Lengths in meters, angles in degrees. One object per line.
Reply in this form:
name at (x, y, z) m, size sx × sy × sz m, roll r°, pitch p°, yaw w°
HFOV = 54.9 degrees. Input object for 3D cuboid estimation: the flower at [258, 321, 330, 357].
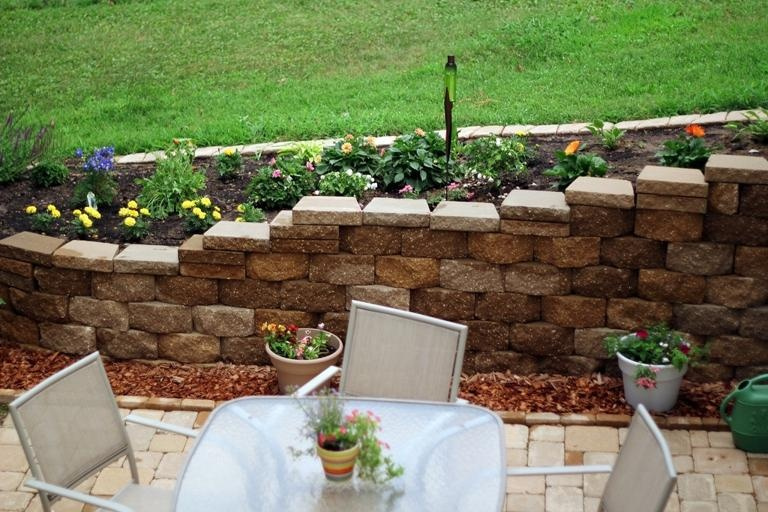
flower at (-0.614, 0.619, 5.669) m, size 0.444 × 0.150 × 0.458 m, roll -2°, pitch -3°, yaw 1°

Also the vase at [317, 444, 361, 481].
vase at (-0.238, 1.091, 3.918) m, size 0.224 × 0.160 × 0.231 m, roll -1°, pitch -4°, yaw 1°

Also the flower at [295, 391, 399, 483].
flower at (-0.183, 0.860, 3.853) m, size 0.550 × 0.381 × 0.466 m, roll 7°, pitch 14°, yaw 18°

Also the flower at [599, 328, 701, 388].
flower at (1.912, 0.650, 5.214) m, size 0.465 × 0.331 × 0.467 m, roll 1°, pitch 16°, yaw 5°

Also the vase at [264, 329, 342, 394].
vase at (-0.580, 0.767, 5.449) m, size 0.502 × 0.343 × 0.495 m, roll -1°, pitch 26°, yaw -4°
